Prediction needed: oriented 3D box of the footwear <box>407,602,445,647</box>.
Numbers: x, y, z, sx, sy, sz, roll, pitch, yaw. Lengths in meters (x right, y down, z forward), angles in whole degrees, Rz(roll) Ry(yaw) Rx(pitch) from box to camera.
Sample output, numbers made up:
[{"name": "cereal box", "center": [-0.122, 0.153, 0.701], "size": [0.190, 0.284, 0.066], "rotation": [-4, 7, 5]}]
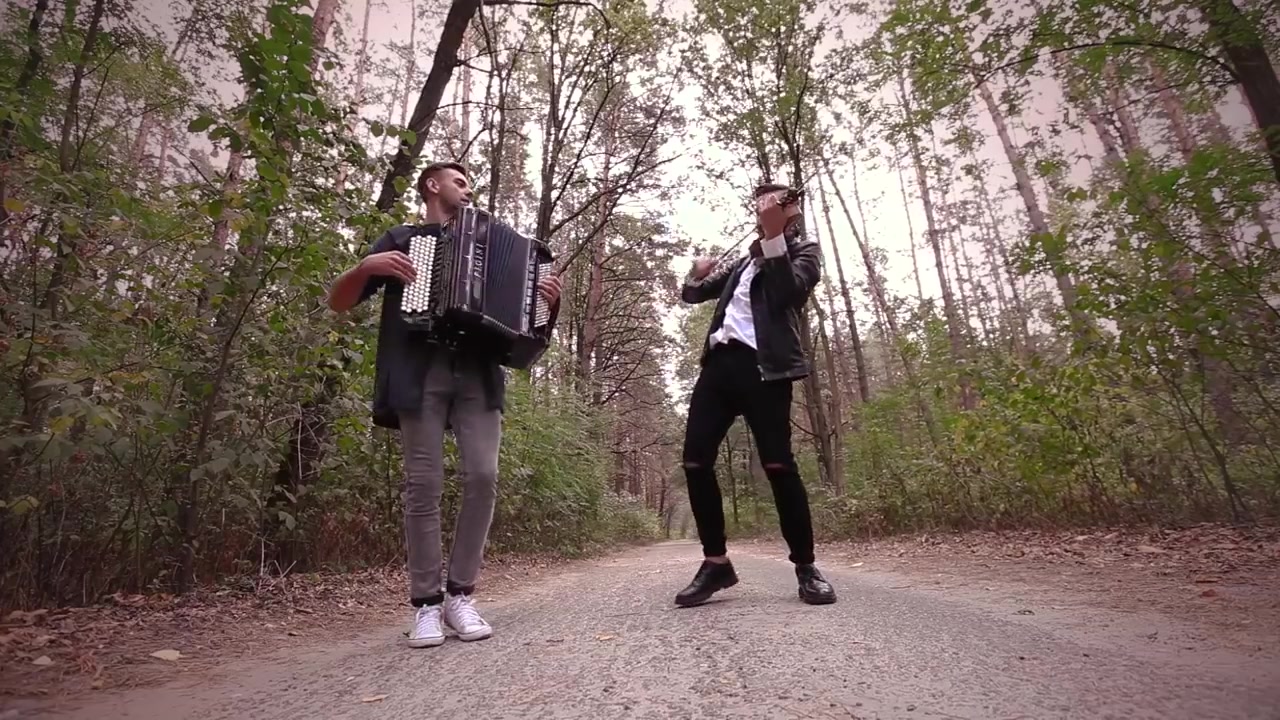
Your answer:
[{"name": "footwear", "center": [-1.925, 2.425, 6.604], "size": [0.325, 0.360, 0.203], "rotation": [0, -17, -17]}]

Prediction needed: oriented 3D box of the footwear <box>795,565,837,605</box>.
[{"name": "footwear", "center": [1.687, 2.173, 7.017], "size": [0.345, 0.369, 0.213], "rotation": [-7, -16, 8]}]

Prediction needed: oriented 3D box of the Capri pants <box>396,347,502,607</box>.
[{"name": "Capri pants", "center": [-1.747, 1.120, 6.830], "size": [0.900, 2.264, 0.634], "rotation": [-1, -17, -16]}]
